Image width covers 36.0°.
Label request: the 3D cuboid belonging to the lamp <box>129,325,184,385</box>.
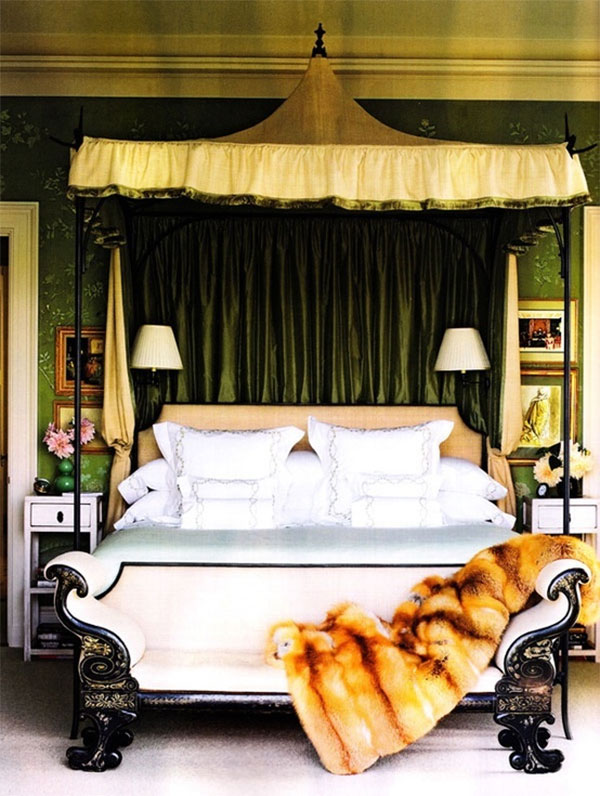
[{"bbox_3d":[-0.705,-0.244,4.700,0.226,0.237,0.229,-4,-2,42],"label":"lamp"}]

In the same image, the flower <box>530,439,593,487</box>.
[{"bbox_3d":[1.317,0.360,4.710,0.274,0.266,0.522,2,6,15],"label":"flower"}]

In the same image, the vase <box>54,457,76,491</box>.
[{"bbox_3d":[-1.208,0.390,4.771,0.091,0.177,0.308,-1,5,-15],"label":"vase"}]

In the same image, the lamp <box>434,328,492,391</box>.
[{"bbox_3d":[0.818,-0.233,4.693,0.222,0.234,0.238,0,2,8],"label":"lamp"}]

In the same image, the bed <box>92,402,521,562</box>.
[{"bbox_3d":[0.067,0.358,4.191,1.821,0.517,1.506,0,5,-6],"label":"bed"}]

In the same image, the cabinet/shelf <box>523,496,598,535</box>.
[{"bbox_3d":[1.299,0.602,4.629,0.344,0.218,0.244,0,5,0],"label":"cabinet/shelf"}]
